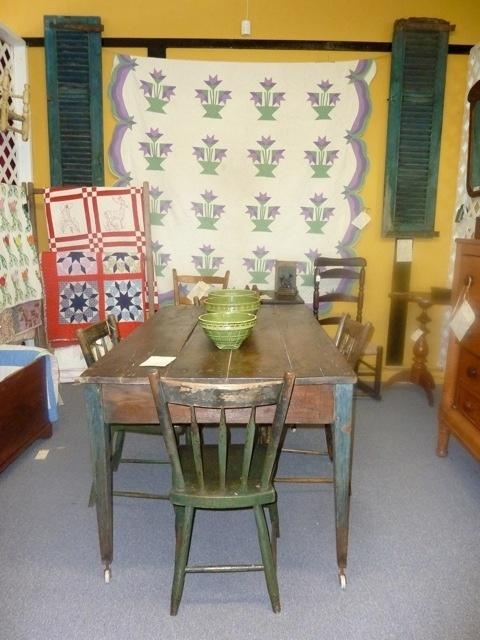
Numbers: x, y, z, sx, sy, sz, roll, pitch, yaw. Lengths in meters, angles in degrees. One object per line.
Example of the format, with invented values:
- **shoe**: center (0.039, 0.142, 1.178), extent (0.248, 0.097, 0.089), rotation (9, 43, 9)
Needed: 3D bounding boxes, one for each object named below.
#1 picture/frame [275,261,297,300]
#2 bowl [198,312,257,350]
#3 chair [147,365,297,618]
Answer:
- **picture/frame**: center (0.325, -0.294, 3.568), extent (0.162, 0.251, 0.474), rotation (1, 9, 6)
- **bowl**: center (-0.039, 0.030, 1.818), extent (0.147, 0.088, 0.155), rotation (0, 7, 0)
- **chair**: center (-0.038, 0.447, 1.481), extent (0.341, 0.701, 0.423), rotation (0, 10, 2)
